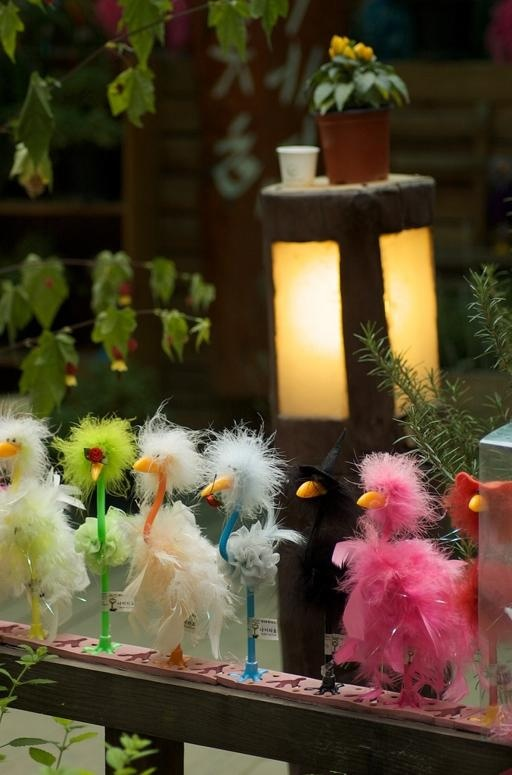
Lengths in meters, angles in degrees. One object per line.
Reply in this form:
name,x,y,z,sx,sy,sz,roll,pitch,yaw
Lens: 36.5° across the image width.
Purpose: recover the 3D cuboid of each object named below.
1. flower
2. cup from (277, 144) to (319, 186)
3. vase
flower,0.113,-0.356,0.880,0.105,0.091,0.093,-2,9,3
cup,0.050,-0.268,0.950,0.056,0.041,0.052,-1,10,0
vase,0.115,-0.281,0.915,0.081,0.081,0.068,-1,10,6
